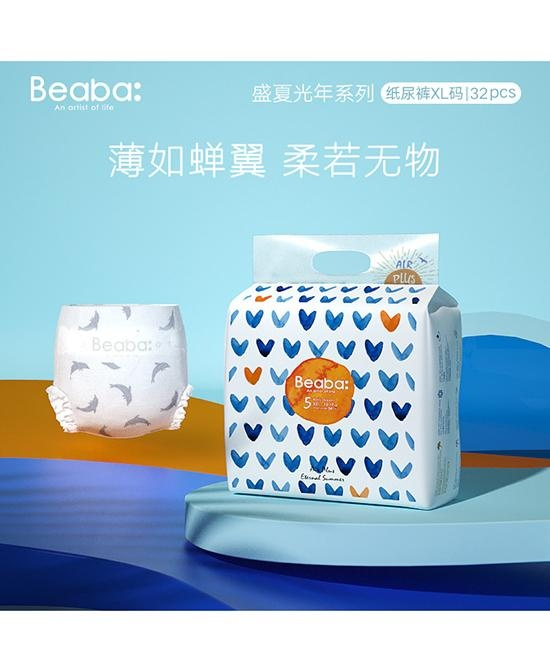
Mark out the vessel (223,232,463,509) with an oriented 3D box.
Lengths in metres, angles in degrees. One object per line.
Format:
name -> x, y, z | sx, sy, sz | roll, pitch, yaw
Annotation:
vessel -> 0.103, 0.061, 1.077 | 0.432, 0.435, 0.163 | 1, 2, 21

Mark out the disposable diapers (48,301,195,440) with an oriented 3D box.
disposable diapers -> -0.250, 0.045, 1.205 | 0.239, 0.206, 0.084 | -1, 7, -2
